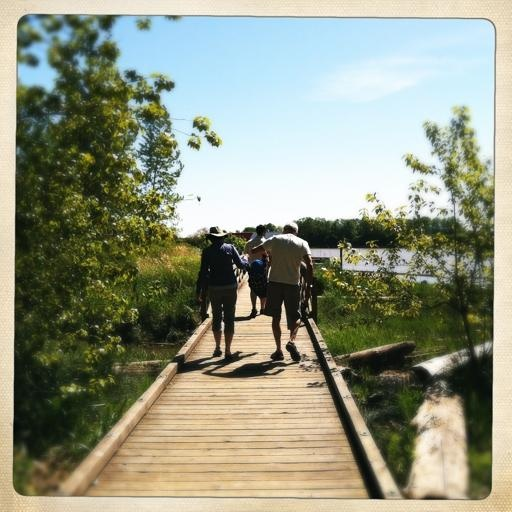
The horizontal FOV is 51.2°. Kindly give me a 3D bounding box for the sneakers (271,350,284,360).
[{"bbox_3d":[0.268,1.249,6.764,0.077,0.122,0.153,0,5,-28],"label":"sneakers"}]

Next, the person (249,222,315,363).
[{"bbox_3d":[0.327,0.460,6.853,0.719,1.784,0.857,-3,7,-4],"label":"person"}]

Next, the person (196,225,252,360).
[{"bbox_3d":[-0.428,0.494,6.797,0.582,1.717,0.661,-3,7,-1],"label":"person"}]

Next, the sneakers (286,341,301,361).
[{"bbox_3d":[0.454,1.167,6.651,0.107,0.354,0.135,-7,21,26],"label":"sneakers"}]
